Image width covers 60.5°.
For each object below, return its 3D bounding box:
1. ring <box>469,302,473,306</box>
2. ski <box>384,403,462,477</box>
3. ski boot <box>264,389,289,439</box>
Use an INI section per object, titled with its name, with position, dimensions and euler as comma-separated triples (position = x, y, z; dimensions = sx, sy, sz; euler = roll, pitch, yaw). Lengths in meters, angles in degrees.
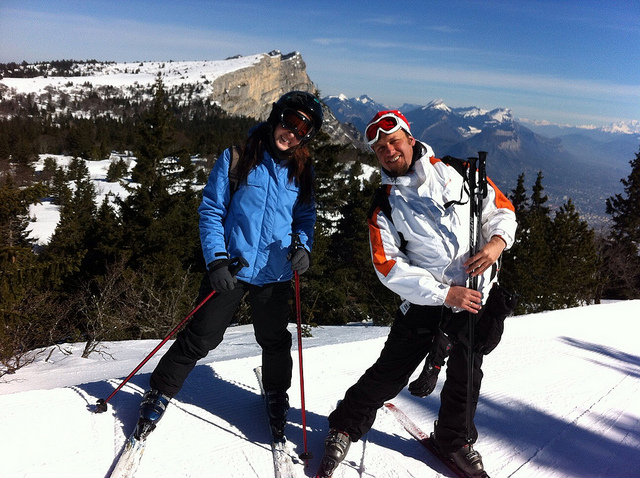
[ring]
position = 1.715, 0.745, 6.285
dimensions = 0.026, 0.044, 0.012
euler = 5, -17, 21
[ski]
position = 1.175, 2.463, 7.122
dimensions = 0.226, 0.123, 2.094
euler = 1, 19, -18
[ski boot]
position = -0.541, 2.189, 6.780
dimensions = 0.262, 0.532, 0.200
euler = 6, -13, -18
